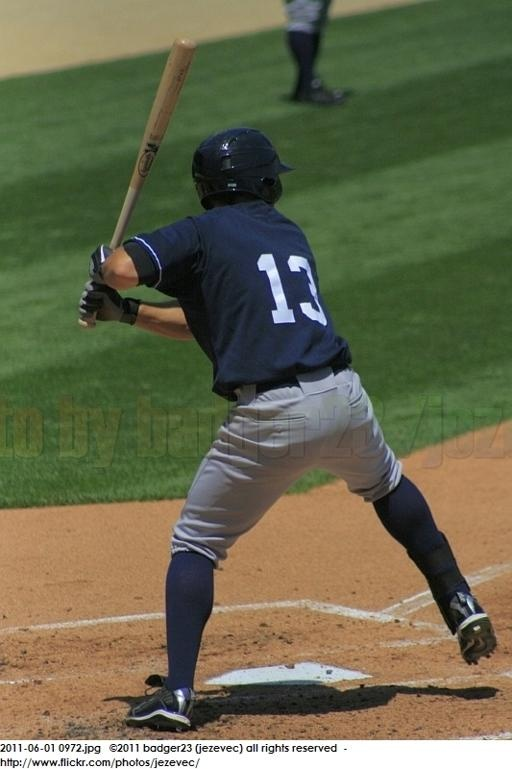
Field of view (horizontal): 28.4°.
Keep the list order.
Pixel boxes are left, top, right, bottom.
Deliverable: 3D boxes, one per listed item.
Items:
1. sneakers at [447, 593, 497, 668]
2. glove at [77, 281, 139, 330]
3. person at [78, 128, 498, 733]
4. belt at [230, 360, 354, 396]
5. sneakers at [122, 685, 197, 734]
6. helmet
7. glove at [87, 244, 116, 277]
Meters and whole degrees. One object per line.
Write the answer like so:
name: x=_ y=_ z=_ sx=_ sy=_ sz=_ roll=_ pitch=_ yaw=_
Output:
sneakers: x=0.672 y=0.792 z=3.236 sx=0.117 sy=0.259 sz=0.123 roll=-29 pitch=51 yaw=-7
glove: x=-0.465 y=-0.267 z=3.334 sx=0.211 sy=0.129 sz=0.081 roll=10 pitch=41 yaw=-5
person: x=0.090 y=0.238 z=3.128 sx=1.133 sy=1.584 sz=0.373 roll=0 pitch=9 yaw=-15
belt: x=0.106 y=-0.012 z=3.038 sx=0.226 sy=0.049 sz=0.151 roll=-18 pitch=-2 yaw=-4
sneakers: x=-0.275 y=0.969 z=3.017 sx=0.245 sy=0.090 sz=0.092 roll=-13 pitch=-40 yaw=34
helmet: x=-0.054 y=-0.715 z=3.297 sx=0.360 sy=0.217 sz=0.250 roll=-10 pitch=13 yaw=-41
glove: x=-0.491 y=-0.383 z=3.150 sx=0.056 sy=0.082 sz=0.122 roll=13 pitch=-39 yaw=-20
